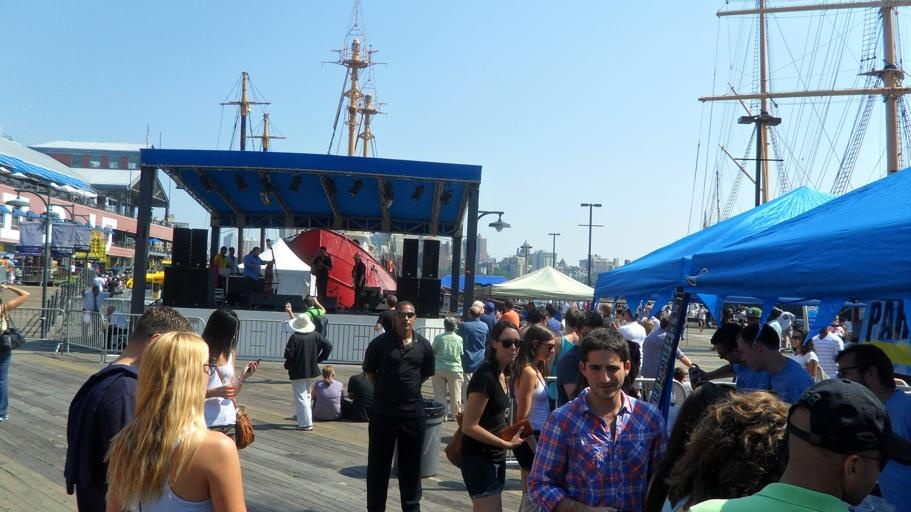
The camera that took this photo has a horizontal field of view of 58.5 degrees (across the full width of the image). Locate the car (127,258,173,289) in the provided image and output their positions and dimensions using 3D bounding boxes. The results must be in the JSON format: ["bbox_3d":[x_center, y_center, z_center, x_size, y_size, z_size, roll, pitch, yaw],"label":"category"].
[{"bbox_3d":[-13.575,0.842,36.202,2.572,0.920,1.808,-2,1,-12],"label":"car"}]

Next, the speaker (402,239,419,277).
[{"bbox_3d":[-1.485,0.038,26.463,0.442,1.230,0.559,3,-4,14],"label":"speaker"}]

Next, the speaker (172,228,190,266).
[{"bbox_3d":[-8.317,-0.252,24.766,0.541,1.198,0.690,6,-4,-20],"label":"speaker"}]

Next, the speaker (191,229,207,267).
[{"bbox_3d":[-7.911,-0.216,25.184,0.491,1.152,0.337,3,-4,16],"label":"speaker"}]
